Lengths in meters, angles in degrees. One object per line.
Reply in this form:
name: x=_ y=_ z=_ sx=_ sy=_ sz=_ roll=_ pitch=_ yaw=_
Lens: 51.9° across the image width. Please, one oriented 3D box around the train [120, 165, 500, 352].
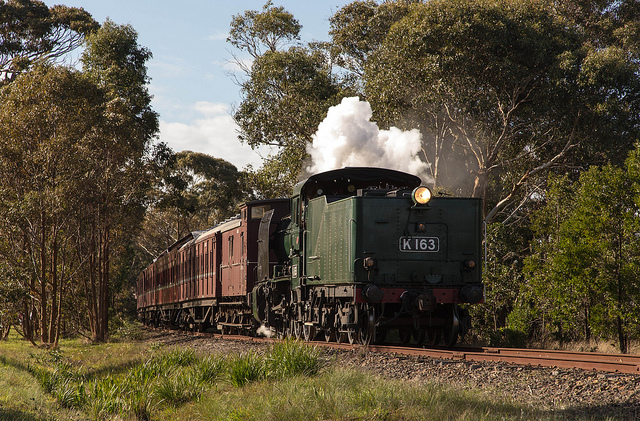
train: x=-2.686 y=3.121 z=34.341 sx=5.564 sy=7.420 sz=29.406 roll=3 pitch=-7 yaw=-24
